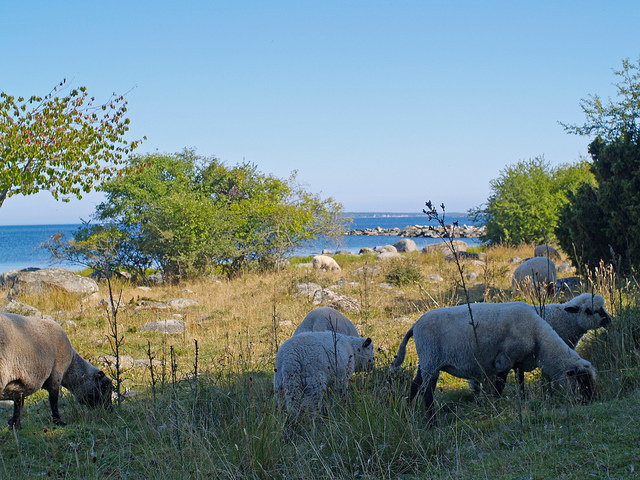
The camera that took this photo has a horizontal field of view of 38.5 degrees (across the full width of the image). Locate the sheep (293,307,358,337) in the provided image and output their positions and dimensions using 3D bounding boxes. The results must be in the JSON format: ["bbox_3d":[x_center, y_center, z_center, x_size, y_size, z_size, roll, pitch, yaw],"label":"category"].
[{"bbox_3d":[0.237,1.951,21.298,0.579,0.767,1.281,2,-6,17],"label":"sheep"}]

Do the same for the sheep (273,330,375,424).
[{"bbox_3d":[0.192,3.103,20.428,1.256,2.250,2.938,-3,-5,37],"label":"sheep"}]

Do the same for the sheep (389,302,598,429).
[{"bbox_3d":[3.710,2.559,19.634,3.816,2.515,0.920,-7,-10,3],"label":"sheep"}]

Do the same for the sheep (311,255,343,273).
[{"bbox_3d":[0.203,0.944,38.234,1.366,0.729,0.838,3,-14,-40],"label":"sheep"}]
